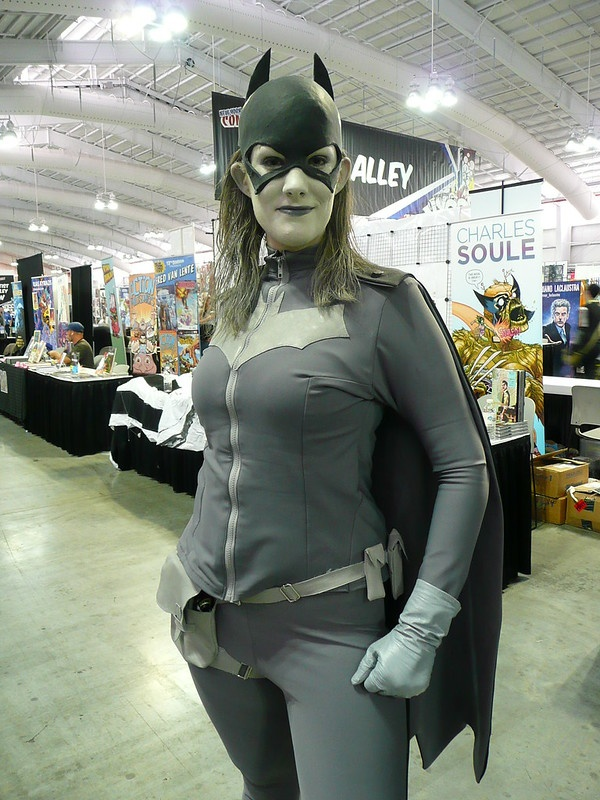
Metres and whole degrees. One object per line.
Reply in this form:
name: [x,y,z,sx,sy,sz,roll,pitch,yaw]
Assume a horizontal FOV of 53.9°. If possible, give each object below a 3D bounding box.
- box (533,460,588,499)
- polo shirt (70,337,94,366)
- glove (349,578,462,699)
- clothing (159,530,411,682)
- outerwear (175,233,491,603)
box: [1.745,0.460,3.937,0.328,0.187,0.226,-10,3,-35]
polo shirt: [-2.587,-0.552,6.984,0.259,0.477,0.386,-6,5,-21]
glove: [0.131,0.285,0.739,0.099,0.162,0.062,21,-10,15]
clothing: [-0.039,0.287,0.835,0.287,0.128,0.230,-6,4,-1]
outerwear: [0.034,0.033,0.785,0.413,0.472,0.156,1,7,18]
